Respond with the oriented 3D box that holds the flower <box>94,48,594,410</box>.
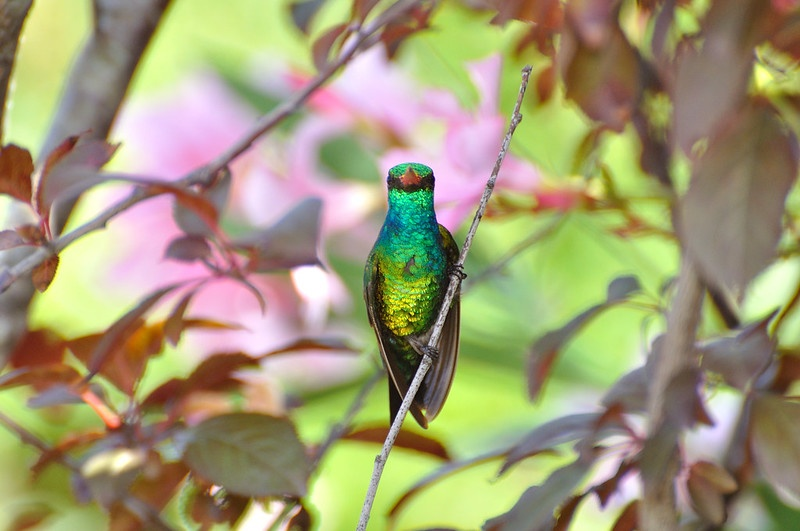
[{"bbox_3d":[-0.048,-0.020,0.564,0.198,0.087,0.216,4,-98,12],"label":"flower"}]
